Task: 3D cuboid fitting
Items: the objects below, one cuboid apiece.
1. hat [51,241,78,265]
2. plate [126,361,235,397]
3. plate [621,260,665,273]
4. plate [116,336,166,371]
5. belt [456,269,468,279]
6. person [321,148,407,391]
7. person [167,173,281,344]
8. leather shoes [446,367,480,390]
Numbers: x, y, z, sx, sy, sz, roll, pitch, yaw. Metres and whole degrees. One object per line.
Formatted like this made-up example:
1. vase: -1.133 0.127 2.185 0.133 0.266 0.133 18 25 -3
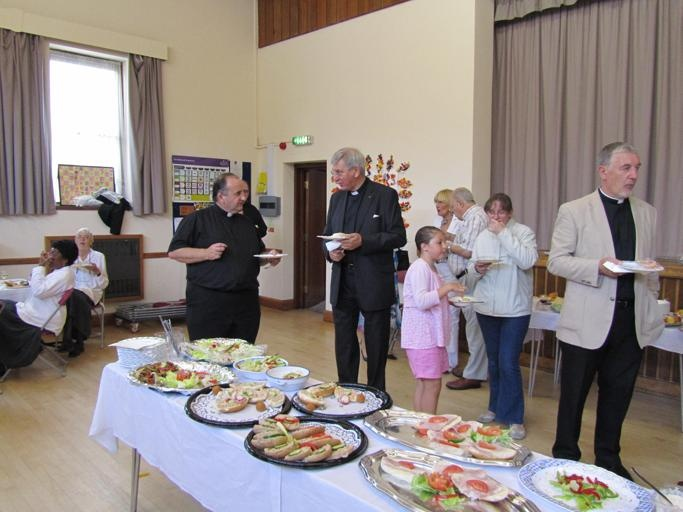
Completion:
1. hat: -2.698 -0.032 5.206 0.195 0.254 0.246 -5 13 -38
2. plate: -0.818 0.616 2.702 0.505 0.075 0.322 4 10 27
3. plate: 1.620 0.051 2.830 0.116 0.037 0.110 -18 6 -34
4. plate: -1.073 0.510 2.883 0.176 0.093 0.199 2 3 32
5. belt: 1.036 0.154 4.572 0.056 0.076 0.077 -20 54 -39
6. person: 0.153 0.091 3.622 0.554 1.638 0.474 0 9 6
7. person: -0.833 0.036 3.583 0.627 1.166 0.337 -3 9 -17
8. leather shoes: 1.105 1.164 4.917 0.307 0.223 0.122 4 -9 -1
